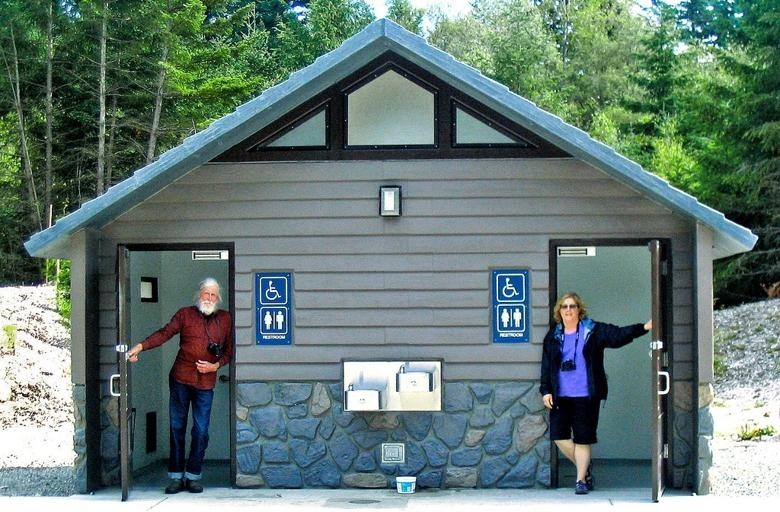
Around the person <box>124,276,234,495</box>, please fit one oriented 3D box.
[{"bbox_3d":[-3.350,2.215,16.276,1.416,3.577,0.745,0,7,-10],"label":"person"}]

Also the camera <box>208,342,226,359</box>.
[{"bbox_3d":[-2.938,1.579,16.307,0.268,0.255,0.193,-6,2,-3],"label":"camera"}]

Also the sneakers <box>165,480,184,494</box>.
[{"bbox_3d":[-3.649,3.859,16.194,0.291,0.210,0.270,5,8,26],"label":"sneakers"}]

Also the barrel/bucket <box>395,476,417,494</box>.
[{"bbox_3d":[0.266,3.814,16.050,0.272,0.201,0.274,3,-13,1],"label":"barrel/bucket"}]

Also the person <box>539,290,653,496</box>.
[{"bbox_3d":[3.181,2.300,16.053,1.376,3.277,0.643,3,8,14],"label":"person"}]

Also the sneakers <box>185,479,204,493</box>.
[{"bbox_3d":[-3.288,3.879,16.196,0.149,0.152,0.347,5,-8,-38],"label":"sneakers"}]

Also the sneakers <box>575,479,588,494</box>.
[{"bbox_3d":[3.198,3.827,15.999,0.264,0.227,0.149,0,8,-8],"label":"sneakers"}]

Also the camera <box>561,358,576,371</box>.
[{"bbox_3d":[2.969,1.808,15.991,0.193,0.176,0.052,2,-10,12],"label":"camera"}]
